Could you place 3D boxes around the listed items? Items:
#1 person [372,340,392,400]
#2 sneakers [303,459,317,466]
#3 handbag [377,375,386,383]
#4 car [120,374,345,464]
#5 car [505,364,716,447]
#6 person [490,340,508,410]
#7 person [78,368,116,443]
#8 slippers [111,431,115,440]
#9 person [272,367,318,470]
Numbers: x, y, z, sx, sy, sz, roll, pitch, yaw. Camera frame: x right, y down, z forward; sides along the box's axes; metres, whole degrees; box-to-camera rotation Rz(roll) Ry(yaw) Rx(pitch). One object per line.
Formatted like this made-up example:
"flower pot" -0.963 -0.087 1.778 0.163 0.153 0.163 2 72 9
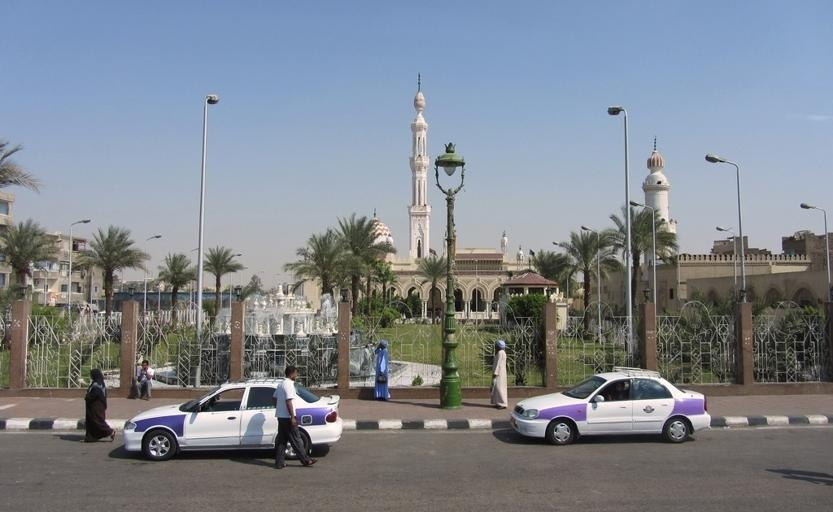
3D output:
"person" -1.196 3.887 34.098 0.504 2.077 0.750 0 -6 -1
"sneakers" -3.028 5.860 28.315 0.406 0.182 0.127 -15 24 -7
"handbag" -1.191 4.195 34.060 0.222 0.224 0.104 1 -8 -2
"car" -5.331 4.924 29.449 5.646 1.985 2.642 2 -10 -3
"car" 5.731 4.623 30.608 5.286 1.964 2.481 2 -7 1
"person" 2.715 3.908 33.003 0.541 2.249 0.887 -1 -6 3
"person" -9.522 4.493 30.093 0.872 2.173 1.028 2 -7 -18
"slippers" -9.153 5.420 30.165 0.132 0.315 0.108 2 7 -23
"person" -3.551 4.571 28.253 0.909 2.840 0.560 1 -6 -8
